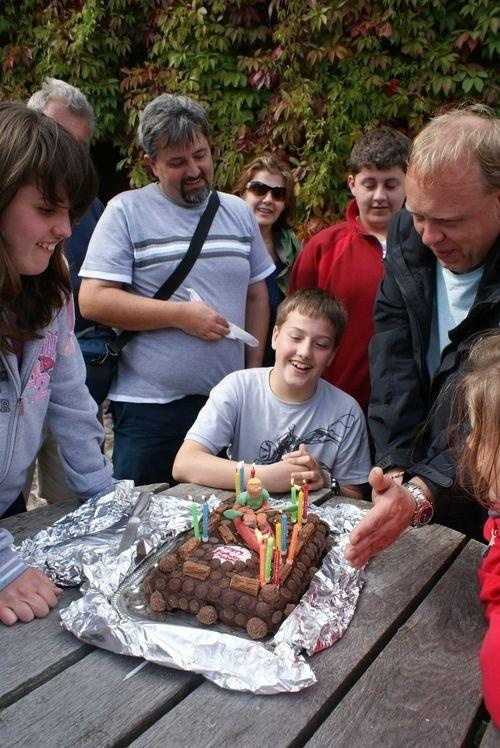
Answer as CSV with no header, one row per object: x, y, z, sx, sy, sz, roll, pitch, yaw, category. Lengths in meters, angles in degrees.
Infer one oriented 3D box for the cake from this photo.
-0.004,0.446,1.481,0.376,0.127,0.501,21,24,29,cake

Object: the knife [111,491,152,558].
-0.299,0.392,1.552,0.029,0.246,0.025,9,29,-21,knife
